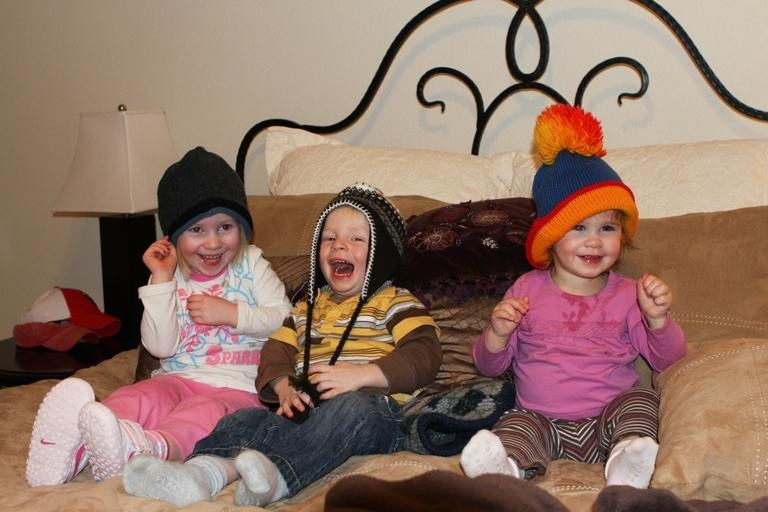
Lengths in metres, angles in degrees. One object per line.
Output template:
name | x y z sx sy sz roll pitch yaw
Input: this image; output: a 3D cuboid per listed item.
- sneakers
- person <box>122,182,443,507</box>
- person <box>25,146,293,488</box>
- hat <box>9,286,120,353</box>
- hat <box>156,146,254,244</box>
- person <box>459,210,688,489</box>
sneakers | -0.845 0.502 1.769 0.359 0.299 0.195 0 1 6
person | -0.240 0.224 1.983 0.774 0.930 0.491 -1 2 -32
person | -0.678 0.181 2.058 0.611 1.041 1.323 1 5 2
hat | -1.420 0.285 2.726 0.354 0.199 0.273 -4 5 14
hat | -0.713 -0.237 2.355 0.353 0.352 0.327 -10 3 33
person | 0.590 0.259 1.884 0.643 0.845 1.104 -1 5 18
